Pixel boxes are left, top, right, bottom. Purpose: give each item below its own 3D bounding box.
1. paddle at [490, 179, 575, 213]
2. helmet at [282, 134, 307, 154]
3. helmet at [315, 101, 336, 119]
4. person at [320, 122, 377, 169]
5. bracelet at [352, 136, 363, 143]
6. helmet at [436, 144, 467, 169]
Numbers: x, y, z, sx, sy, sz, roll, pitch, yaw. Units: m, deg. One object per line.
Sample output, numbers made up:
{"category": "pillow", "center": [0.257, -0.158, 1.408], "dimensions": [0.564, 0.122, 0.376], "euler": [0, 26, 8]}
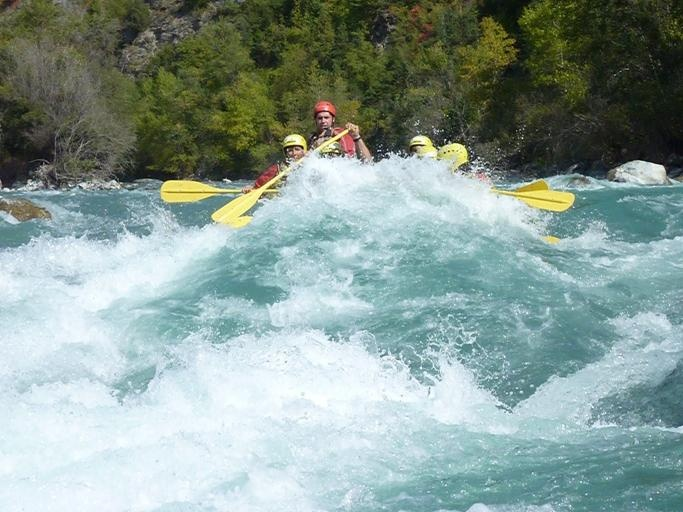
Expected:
{"category": "paddle", "center": [3.149, -0.946, 12.647], "dimensions": [1.816, 0.490, 0.230], "euler": [7, -4, -15]}
{"category": "helmet", "center": [-0.867, -2.074, 14.290], "dimensions": [0.306, 0.316, 0.402], "euler": [-7, -4, 8]}
{"category": "helmet", "center": [-0.330, -2.756, 14.758], "dimensions": [0.297, 0.275, 0.423], "euler": [11, 9, 12]}
{"category": "person", "center": [0.224, -2.106, 14.606], "dimensions": [0.804, 0.802, 0.345], "euler": [-27, 16, 10]}
{"category": "bracelet", "center": [0.262, -2.190, 14.623], "dimensions": [0.150, 0.116, 0.151], "euler": [3, 4, 17]}
{"category": "helmet", "center": [1.887, -1.759, 13.533], "dimensions": [0.482, 0.428, 0.562], "euler": [5, 0, 8]}
